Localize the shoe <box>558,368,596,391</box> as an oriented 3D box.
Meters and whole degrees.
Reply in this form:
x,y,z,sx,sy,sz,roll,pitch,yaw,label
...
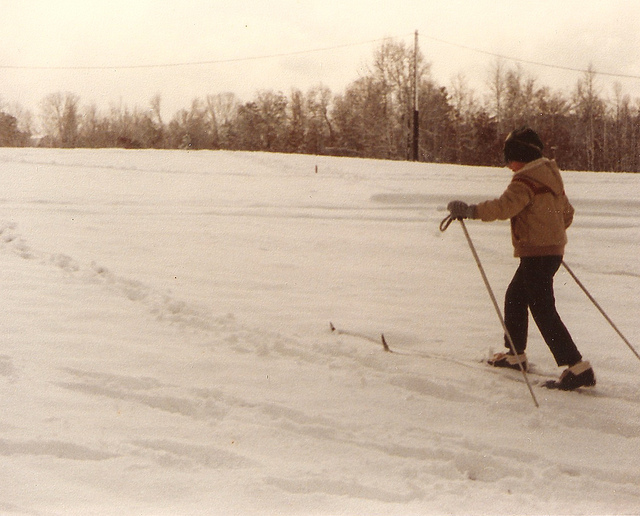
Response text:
x,y,z,sx,sy,sz,roll,pitch,yaw,label
2.422,1.139,8.197,0.352,0.193,0.160,-8,8,-6,shoe

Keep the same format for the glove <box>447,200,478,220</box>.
x,y,z,sx,sy,sz,roll,pitch,yaw,label
1.339,-0.458,8.140,0.217,0.170,0.103,1,-36,17,glove

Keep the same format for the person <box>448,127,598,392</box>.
x,y,z,sx,sy,sz,roll,pitch,yaw,label
2.041,-0.001,8.212,1.244,2.456,0.709,3,7,18,person

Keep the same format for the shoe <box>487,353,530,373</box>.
x,y,z,sx,sy,sz,roll,pitch,yaw,label
1.867,1.027,8.532,0.294,0.140,0.188,14,-5,9,shoe
